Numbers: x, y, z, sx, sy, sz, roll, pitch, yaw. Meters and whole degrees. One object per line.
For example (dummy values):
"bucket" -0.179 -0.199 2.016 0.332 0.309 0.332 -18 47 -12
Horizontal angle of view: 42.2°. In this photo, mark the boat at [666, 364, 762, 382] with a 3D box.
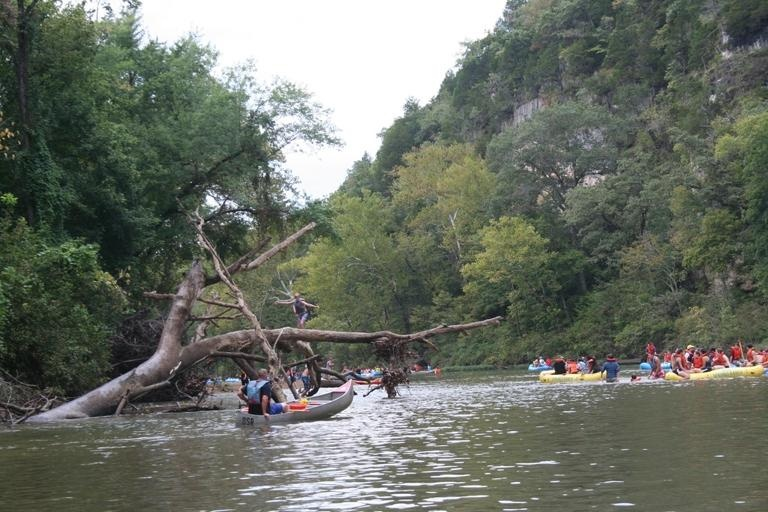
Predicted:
"boat" 21.554 7.580 63.845 4.337 0.684 2.107 -5 -8 1

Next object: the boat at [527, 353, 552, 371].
"boat" 13.731 9.330 87.116 2.139 1.304 1.539 2 -5 -18
